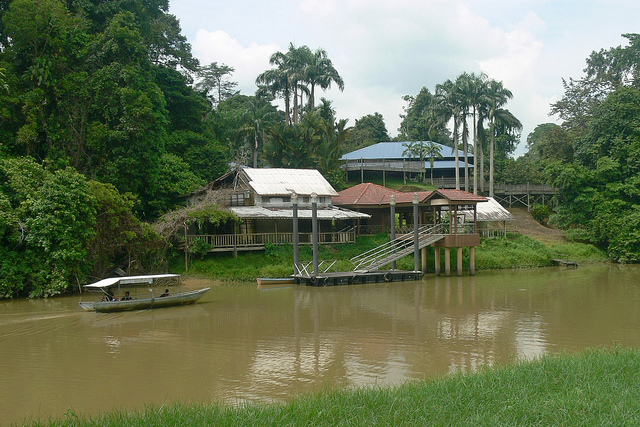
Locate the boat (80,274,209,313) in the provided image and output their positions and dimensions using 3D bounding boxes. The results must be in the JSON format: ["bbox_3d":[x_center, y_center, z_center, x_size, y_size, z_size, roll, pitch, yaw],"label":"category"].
[{"bbox_3d":[-11.679,5.426,48.301,8.043,2.509,2.359,-3,-4,-20],"label":"boat"}]
